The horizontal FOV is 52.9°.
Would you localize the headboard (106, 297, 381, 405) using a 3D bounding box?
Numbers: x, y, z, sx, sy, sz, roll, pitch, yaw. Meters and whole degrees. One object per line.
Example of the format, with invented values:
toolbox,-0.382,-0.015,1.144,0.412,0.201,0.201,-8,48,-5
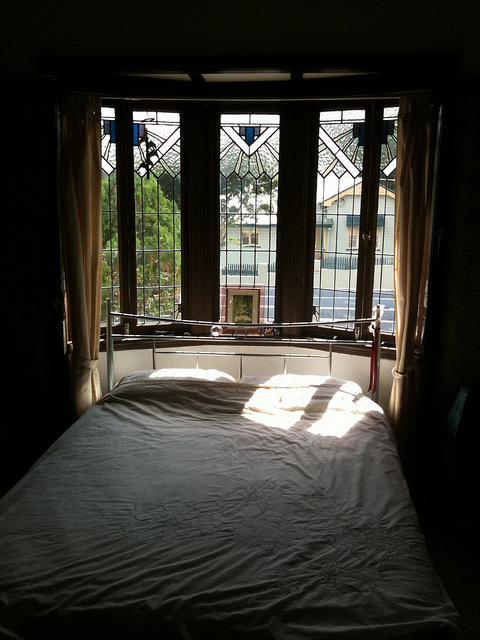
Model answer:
headboard,0.060,0.174,3.038,1.546,0.653,0.421,5,8,5
